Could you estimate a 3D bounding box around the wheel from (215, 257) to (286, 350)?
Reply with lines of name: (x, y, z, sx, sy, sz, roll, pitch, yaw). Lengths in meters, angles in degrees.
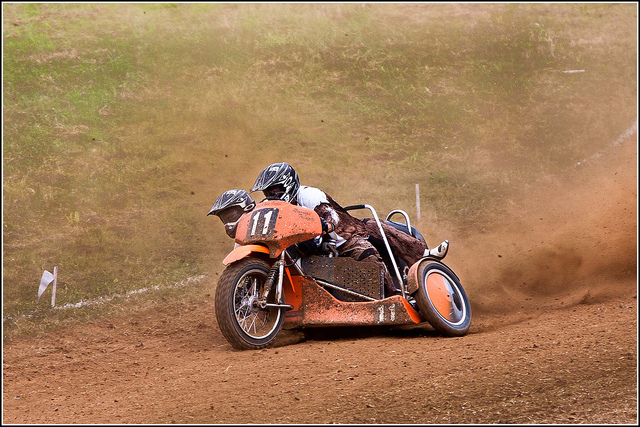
wheel: (-1.368, 1.782, 18.390, 1.213, 1.765, 0.810, -15, 27, -29)

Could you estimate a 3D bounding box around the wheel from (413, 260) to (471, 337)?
wheel: (2.363, 1.732, 18.968, 0.217, 1.247, 1.165, -35, 38, 30)
